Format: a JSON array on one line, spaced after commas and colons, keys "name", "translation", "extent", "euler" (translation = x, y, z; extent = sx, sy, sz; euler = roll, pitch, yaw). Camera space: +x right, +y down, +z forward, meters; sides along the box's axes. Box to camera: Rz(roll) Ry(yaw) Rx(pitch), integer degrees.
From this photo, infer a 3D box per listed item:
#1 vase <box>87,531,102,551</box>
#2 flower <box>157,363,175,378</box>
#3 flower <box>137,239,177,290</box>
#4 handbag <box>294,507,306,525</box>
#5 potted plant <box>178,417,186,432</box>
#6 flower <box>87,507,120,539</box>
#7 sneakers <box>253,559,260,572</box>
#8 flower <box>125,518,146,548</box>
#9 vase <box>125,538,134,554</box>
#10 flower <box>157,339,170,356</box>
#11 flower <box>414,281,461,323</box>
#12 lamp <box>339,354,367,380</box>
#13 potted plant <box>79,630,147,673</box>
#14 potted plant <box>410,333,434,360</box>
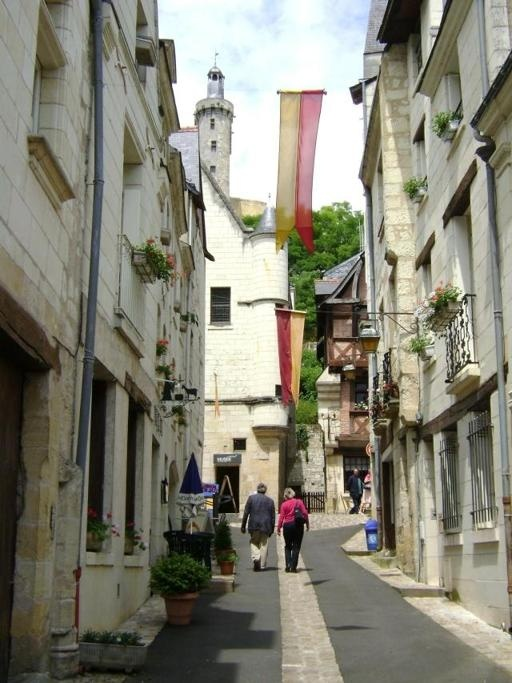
[{"name": "vase", "translation": [-1.646, 2.054, 7.938], "extent": [0.150, 0.147, 0.176], "euler": [6, -37, 5]}, {"name": "flower", "translation": [-1.613, 0.457, 13.624], "extent": [0.229, 0.219, 0.203], "euler": [8, -15, -41]}, {"name": "flower", "translation": [-1.358, -1.194, 10.455], "extent": [0.384, 0.414, 0.734], "euler": [-1, -15, 3]}, {"name": "handbag", "translation": [0.745, 3.059, 13.659], "extent": [0.162, 0.252, 0.109], "euler": [10, -44, -22]}, {"name": "potted plant", "translation": [-1.771, 1.964, 18.553], "extent": [0.176, 0.474, 0.403], "euler": [-1, -8, 5]}, {"name": "flower", "translation": [-1.644, 1.923, 8.218], "extent": [0.186, 0.233, 0.342], "euler": [3, -14, -1]}, {"name": "sneakers", "translation": [0.009, 4.043, 14.178], "extent": [0.070, 0.282, 0.098], "euler": [1, 8, -2]}, {"name": "flower", "translation": [-1.638, 2.583, 10.346], "extent": [0.256, 0.330, 0.368], "euler": [-6, -12, 32]}, {"name": "vase", "translation": [-1.627, 2.681, 10.184], "extent": [0.093, 0.196, 0.295], "euler": [-2, -19, 6]}, {"name": "flower", "translation": [-1.652, 0.055, 13.512], "extent": [0.188, 0.370, 0.253], "euler": [-8, -10, 25]}, {"name": "flower", "translation": [2.491, -0.479, 10.816], "extent": [0.372, 0.429, 1.133], "euler": [3, -20, -10]}, {"name": "lamp", "translation": [4.495, 1.225, 35.591], "extent": [1.415, 0.838, 0.902], "euler": [12, -22, -33]}, {"name": "potted plant", "translation": [-1.117, 2.479, 6.222], "extent": [0.381, 0.245, 0.320], "euler": [-1, -26, 10]}, {"name": "potted plant", "translation": [2.716, 0.030, 12.792], "extent": [0.273, 0.539, 0.381], "euler": [-8, -7, 25]}]
